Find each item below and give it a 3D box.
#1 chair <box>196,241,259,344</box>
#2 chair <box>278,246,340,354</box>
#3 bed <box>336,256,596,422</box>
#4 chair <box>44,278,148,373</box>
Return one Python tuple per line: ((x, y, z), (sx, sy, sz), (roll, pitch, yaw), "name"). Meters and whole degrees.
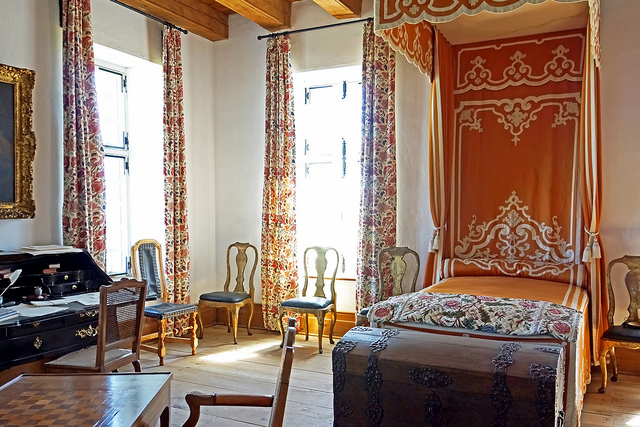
((-1.297, 1.064, 6.721), (0.822, 1.278, 0.958), (-1, 2, 10), "chair")
((-0.090, 1.088, 6.369), (0.702, 1.286, 0.987), (-1, 2, 20), "chair")
((1.419, 1.127, 4.255), (1.604, 1.132, 2.485), (-1, 2, 35), "bed")
((-1.976, 1.002, 4.349), (0.747, 0.593, 0.600), (-1, 2, 28), "chair")
